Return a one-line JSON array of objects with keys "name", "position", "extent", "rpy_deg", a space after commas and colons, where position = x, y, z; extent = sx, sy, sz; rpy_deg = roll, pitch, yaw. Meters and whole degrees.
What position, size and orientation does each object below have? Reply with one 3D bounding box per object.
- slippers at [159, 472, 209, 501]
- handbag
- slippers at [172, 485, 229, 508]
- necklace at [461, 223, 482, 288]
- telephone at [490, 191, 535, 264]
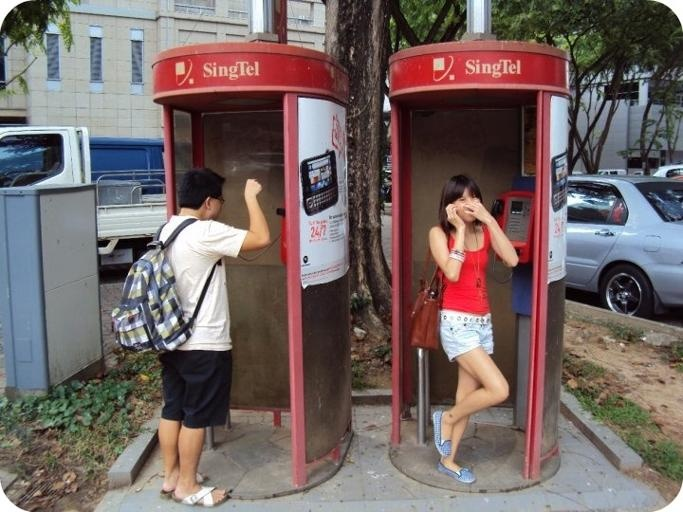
[{"name": "slippers", "position": [-1.183, 1.711, 4.223], "extent": [0.343, 0.105, 0.121], "rpy_deg": [-18, 14, -42]}, {"name": "handbag", "position": [0.664, 0.367, 4.320], "extent": [0.212, 0.652, 0.234], "rpy_deg": [-2, 15, -21]}, {"name": "slippers", "position": [-1.010, 1.732, 4.056], "extent": [0.267, 0.094, 0.169], "rpy_deg": [-3, 4, 6]}, {"name": "necklace", "position": [0.960, 0.070, 4.139], "extent": [0.140, 0.282, 0.063], "rpy_deg": [-1, -4, -4]}, {"name": "telephone", "position": [1.397, -0.222, 4.495], "extent": [0.290, 0.569, 0.277], "rpy_deg": [2, 4, 30]}]
